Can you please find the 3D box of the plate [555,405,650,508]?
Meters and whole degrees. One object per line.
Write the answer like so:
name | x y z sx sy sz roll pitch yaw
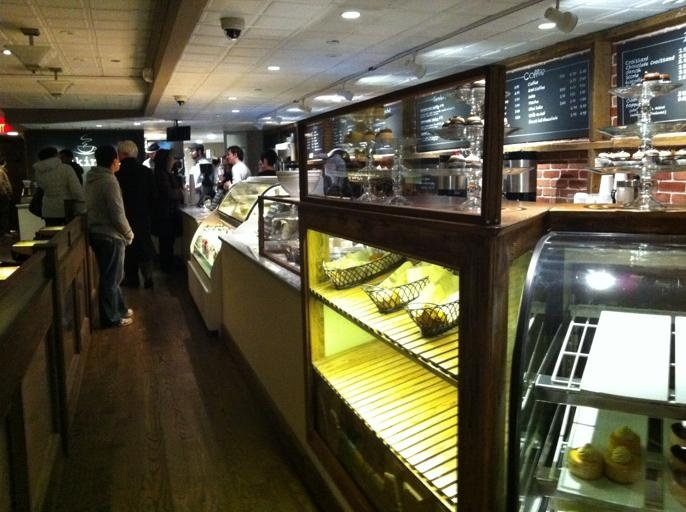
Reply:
plate | 0.757 0.597 1.406 0.240 0.070 0.353 5 41 31

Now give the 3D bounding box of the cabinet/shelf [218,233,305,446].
cabinet/shelf | -0.538 0.574 3.160 0.411 0.574 1.241 -6 18 -27

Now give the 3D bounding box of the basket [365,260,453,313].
basket | 0.275 0.116 1.967 0.321 0.110 0.185 -32 14 -33

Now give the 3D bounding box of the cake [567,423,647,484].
cake | 0.795 0.591 1.406 0.246 0.119 0.109 -2 13 -6

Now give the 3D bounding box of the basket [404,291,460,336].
basket | 0.328 0.224 1.749 0.183 0.153 0.072 4 14 19

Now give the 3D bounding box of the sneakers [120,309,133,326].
sneakers | -2.306 0.653 5.041 0.068 0.080 0.196 9 12 -11

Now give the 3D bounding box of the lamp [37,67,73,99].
lamp | -3.993 -2.422 6.547 0.367 0.331 0.795 -8 15 -30

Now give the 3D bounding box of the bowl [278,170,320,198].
bowl | -0.237 -0.411 2.606 0.280 0.149 0.270 0 4 0

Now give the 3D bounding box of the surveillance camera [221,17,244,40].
surveillance camera | -0.922 -1.902 3.967 0.168 0.150 0.163 -5 14 -22

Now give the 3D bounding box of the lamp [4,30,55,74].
lamp | -3.297 -2.159 5.017 0.409 0.394 0.410 -6 17 -23

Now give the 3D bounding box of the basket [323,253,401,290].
basket | 0.083 0.049 2.197 0.333 0.106 0.153 -20 12 -1

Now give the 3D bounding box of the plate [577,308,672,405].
plate | 0.807 0.291 1.370 0.216 0.074 0.327 4 46 31
